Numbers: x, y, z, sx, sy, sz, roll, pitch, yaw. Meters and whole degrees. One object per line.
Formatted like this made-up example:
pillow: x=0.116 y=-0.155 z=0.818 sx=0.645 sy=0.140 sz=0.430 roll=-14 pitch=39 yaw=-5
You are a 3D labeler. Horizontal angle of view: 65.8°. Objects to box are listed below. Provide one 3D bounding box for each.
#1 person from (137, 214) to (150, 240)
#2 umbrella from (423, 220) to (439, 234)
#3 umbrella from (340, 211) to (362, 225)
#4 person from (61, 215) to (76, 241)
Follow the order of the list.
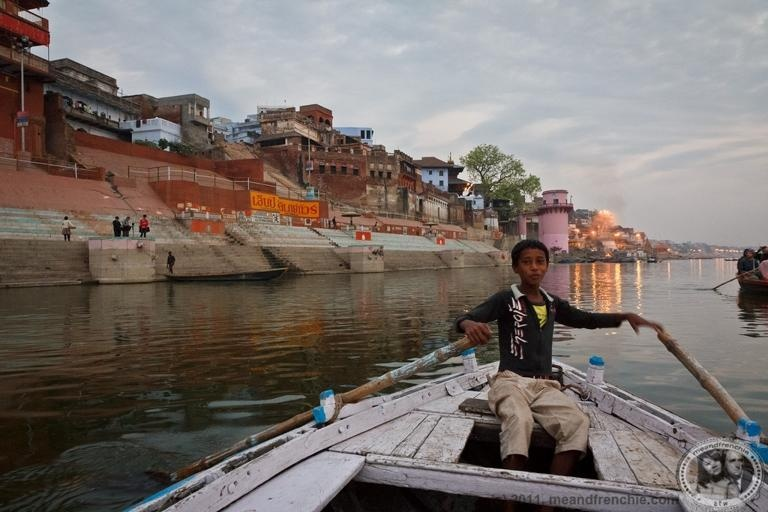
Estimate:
person: x=-10.393 y=-1.282 z=25.664 sx=0.342 sy=0.917 sz=1.655 roll=-3 pitch=5 yaw=-23
umbrella: x=4.263 y=-2.639 z=57.086 sx=1.392 sy=1.361 sz=2.370 roll=-2 pitch=0 yaw=23
umbrella: x=-2.515 y=-3.155 z=46.927 sx=1.602 sy=0.812 sz=1.510 roll=-9 pitch=11 yaw=-17
person: x=-12.887 y=-1.144 z=24.234 sx=0.458 sy=1.001 sz=1.822 roll=-4 pitch=5 yaw=-28
